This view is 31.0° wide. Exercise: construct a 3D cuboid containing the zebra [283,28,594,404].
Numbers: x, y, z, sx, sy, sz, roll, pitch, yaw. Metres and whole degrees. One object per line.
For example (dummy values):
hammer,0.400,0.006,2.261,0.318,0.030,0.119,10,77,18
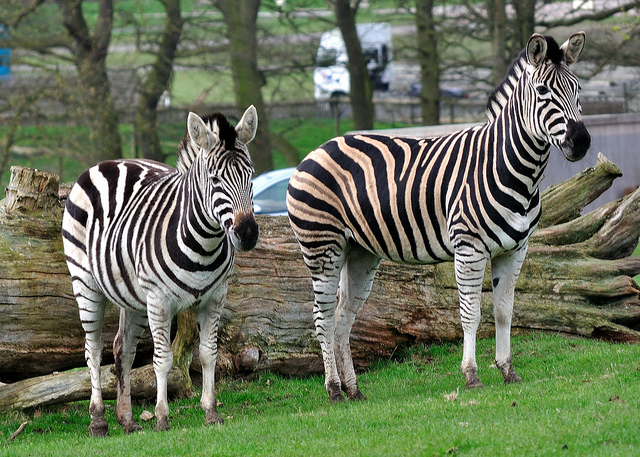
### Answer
zebra,2.139,-0.003,19.649,5.840,5.817,1.953,-4,1,36
